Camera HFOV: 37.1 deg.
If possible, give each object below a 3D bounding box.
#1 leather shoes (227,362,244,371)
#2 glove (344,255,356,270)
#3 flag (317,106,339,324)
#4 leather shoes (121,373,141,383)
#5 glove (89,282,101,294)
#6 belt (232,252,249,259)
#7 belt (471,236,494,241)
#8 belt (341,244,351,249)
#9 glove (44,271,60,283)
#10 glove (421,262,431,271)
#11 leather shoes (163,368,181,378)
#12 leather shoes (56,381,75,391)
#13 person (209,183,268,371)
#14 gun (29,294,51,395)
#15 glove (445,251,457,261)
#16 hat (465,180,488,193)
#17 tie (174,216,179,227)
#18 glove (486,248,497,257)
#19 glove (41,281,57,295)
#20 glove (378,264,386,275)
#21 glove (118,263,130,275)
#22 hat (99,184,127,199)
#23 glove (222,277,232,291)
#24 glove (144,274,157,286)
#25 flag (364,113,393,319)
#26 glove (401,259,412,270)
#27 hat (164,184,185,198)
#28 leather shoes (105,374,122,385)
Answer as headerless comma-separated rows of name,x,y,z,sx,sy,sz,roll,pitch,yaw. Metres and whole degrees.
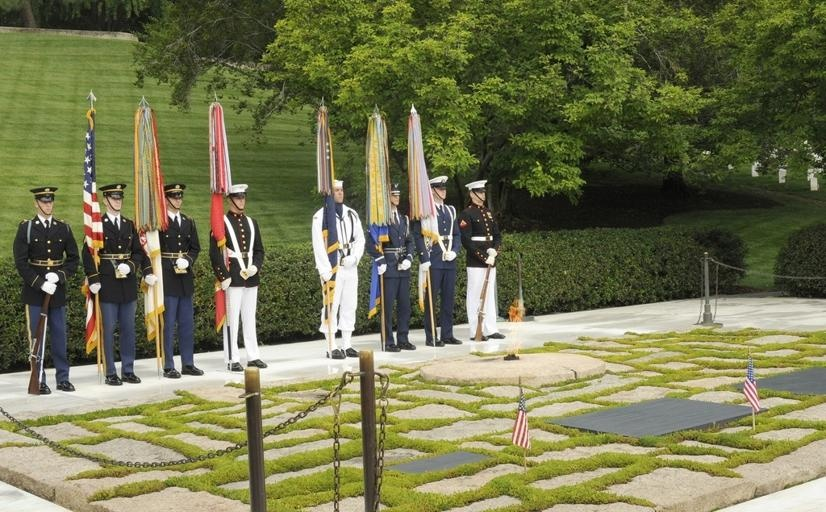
leather shoes,-3.515,2.195,24.395,0.319,0.110,0.180,-2,-2,38
glove,-1.309,0.122,25.361,0.292,0.274,0.127,-5,4,-35
flag,-1.743,-0.929,25.197,0.401,4.404,0.564,-3,4,-4
leather shoes,-5.457,2.345,23.778,0.420,0.186,0.169,-1,3,16
glove,-6.143,0.612,23.634,0.196,0.154,0.228,0,-8,-40
belt,-3.461,-0.028,24.546,0.287,0.106,0.046,-2,3,-9
belt,1.431,-0.384,26.392,0.391,0.096,0.075,-2,3,-3
belt,-1.384,-0.202,25.386,0.216,0.119,0.040,-4,4,-39
glove,-6.843,0.394,23.345,0.147,0.201,0.211,0,4,39
glove,0.295,0.214,26.138,0.253,0.191,0.140,-4,3,-26
leather shoes,-4.698,2.274,24.017,0.327,0.187,0.268,-3,3,-13
leather shoes,-6.583,2.454,23.355,0.346,0.188,0.271,-3,3,-17
person,-3.486,0.413,24.590,1.046,3.684,0.686,-4,4,-14
gun,-7.075,1.663,23.261,0.346,1.842,0.530,-1,4,26
glove,0.776,0.012,26.195,0.191,0.121,0.222,2,8,9
hat,1.307,-1.538,26.554,0.356,0.159,0.369,0,-9,-29
tie,-4.676,-0.693,24.345,0.059,0.213,0.055,-8,-30,-7
glove,1.683,-0.085,26.294,0.220,0.184,0.122,3,4,-16
glove,-6.880,0.592,23.282,0.298,0.269,0.144,-4,4,-26
glove,-0.657,0.265,25.733,0.185,0.180,0.212,2,-9,-3
glove,-5.572,0.247,23.717,0.207,0.221,0.090,1,-9,-12
hat,-5.929,-1.281,24.033,0.498,0.215,0.517,-2,3,-41
glove,-3.703,0.537,24.413,0.182,0.195,0.095,1,2,-28
glove,-5.131,0.467,24.141,0.189,0.213,0.240,-1,-5,-33
flag,-0.749,-0.929,25.874,0.566,4.289,0.460,-3,4,0
glove,-0.150,0.176,25.866,0.208,0.203,0.089,-1,1,7
hat,-4.787,-1.295,24.478,0.361,0.162,0.360,-2,3,-32
leather shoes,-5.742,2.362,23.653,0.321,0.194,0.242,-3,3,-15
